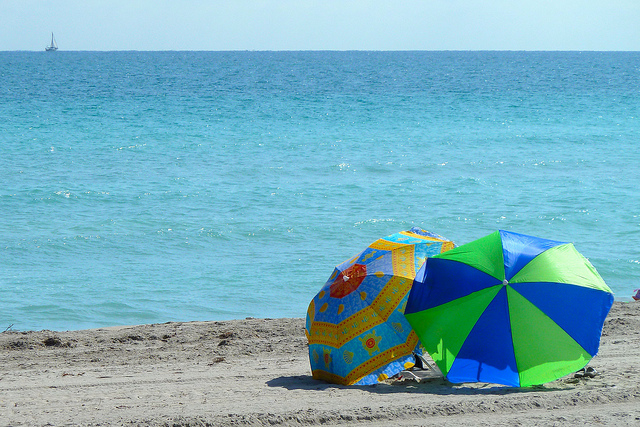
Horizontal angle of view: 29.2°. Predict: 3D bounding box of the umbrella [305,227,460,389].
[{"bbox_3d":[1.558,3.094,40.672,5.355,4.560,3.606,-37,-29,17],"label":"umbrella"}]
